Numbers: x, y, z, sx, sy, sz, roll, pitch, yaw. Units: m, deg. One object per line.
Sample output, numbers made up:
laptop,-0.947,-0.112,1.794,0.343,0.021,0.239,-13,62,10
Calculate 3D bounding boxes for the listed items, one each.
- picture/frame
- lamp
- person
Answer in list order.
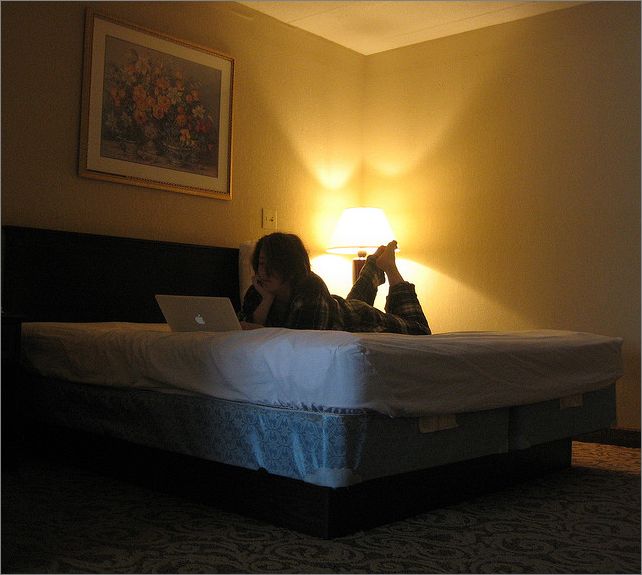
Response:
picture/frame,-0.944,-1.011,3.038,0.079,1.091,1.054,-9,-11,43
lamp,0.243,-0.260,3.849,0.457,0.611,0.502,-1,-3,-4
person,0.096,0.027,2.254,0.805,0.455,0.440,10,-12,-39
